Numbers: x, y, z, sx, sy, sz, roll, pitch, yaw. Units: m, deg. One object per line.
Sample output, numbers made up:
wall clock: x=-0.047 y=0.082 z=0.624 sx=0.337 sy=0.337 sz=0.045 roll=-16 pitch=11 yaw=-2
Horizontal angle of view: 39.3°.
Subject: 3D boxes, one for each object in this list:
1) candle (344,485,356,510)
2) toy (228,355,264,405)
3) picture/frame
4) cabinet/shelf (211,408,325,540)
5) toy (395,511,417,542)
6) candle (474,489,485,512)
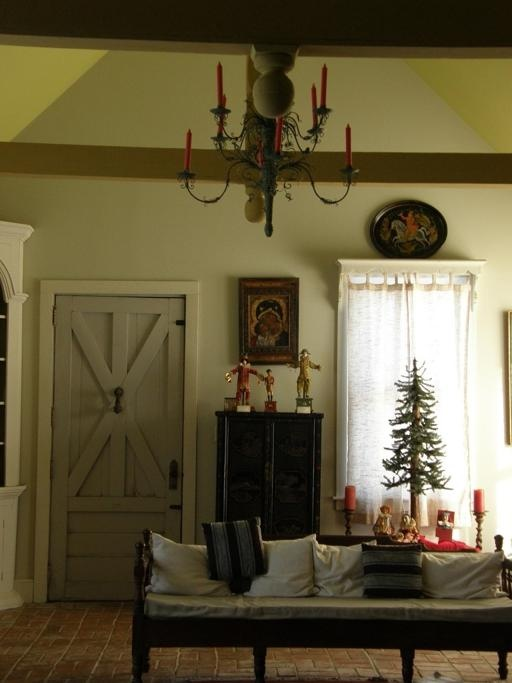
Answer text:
candle: x=0.689 y=1.143 z=5.254 sx=0.068 sy=0.170 sz=0.074 roll=0 pitch=-4 yaw=2
toy: x=-0.062 y=0.304 z=5.650 sx=0.382 sy=0.447 sz=0.135 roll=1 pitch=-13 yaw=-4
picture/frame: x=0.109 y=-0.161 z=5.808 sx=0.735 sy=1.006 sz=0.044 roll=0 pitch=-5 yaw=-3
cabinet/shelf: x=0.095 y=0.945 z=5.159 sx=0.937 sy=1.414 sz=0.458 roll=0 pitch=-7 yaw=-3
toy: x=0.980 y=1.196 z=4.635 sx=0.160 sy=0.206 sz=0.150 roll=-1 pitch=-9 yaw=8
candle: x=1.581 y=1.128 z=5.096 sx=0.057 sy=0.154 sz=0.083 roll=0 pitch=-4 yaw=10
